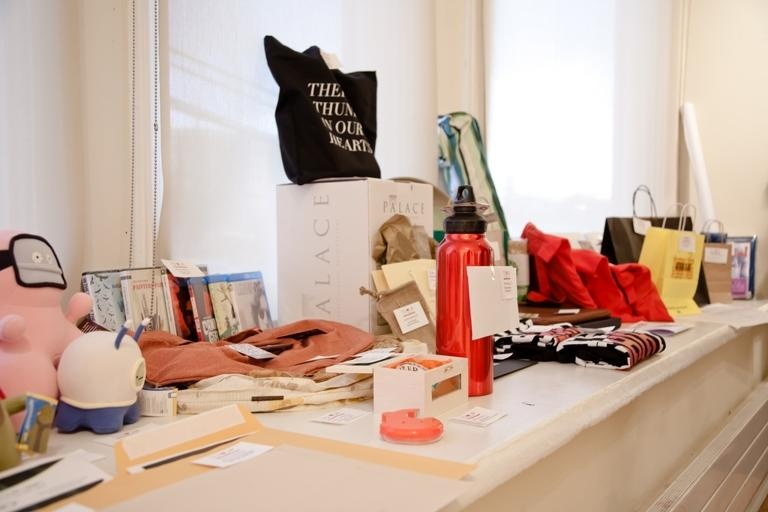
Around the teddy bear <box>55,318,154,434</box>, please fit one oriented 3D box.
[{"bbox_3d":[-0.611,0.247,1.179,0.168,0.224,0.175,5,1,38],"label":"teddy bear"}]

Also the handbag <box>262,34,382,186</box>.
[{"bbox_3d":[-0.183,-0.530,2.108,0.213,0.544,0.543,-1,0,43],"label":"handbag"}]

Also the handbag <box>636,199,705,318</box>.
[{"bbox_3d":[1.333,-0.007,2.520,0.279,0.545,0.177,4,7,-22],"label":"handbag"}]

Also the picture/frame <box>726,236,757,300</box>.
[{"bbox_3d":[1.928,0.051,3.008,0.193,0.326,0.205,-1,3,-35],"label":"picture/frame"}]

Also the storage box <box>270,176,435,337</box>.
[{"bbox_3d":[-0.218,-0.020,2.207,0.532,0.752,0.504,2,3,40],"label":"storage box"}]

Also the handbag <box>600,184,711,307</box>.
[{"bbox_3d":[1.312,-0.056,2.688,0.549,0.530,0.206,0,-7,-18],"label":"handbag"}]

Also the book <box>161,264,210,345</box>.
[{"bbox_3d":[-0.646,0.144,1.732,0.050,0.210,0.213,-8,-2,10],"label":"book"}]

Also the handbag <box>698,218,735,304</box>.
[{"bbox_3d":[1.642,0.031,2.747,0.200,0.430,0.150,0,7,-1],"label":"handbag"}]

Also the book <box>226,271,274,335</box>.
[{"bbox_3d":[-0.479,0.166,1.906,0.028,0.190,0.209,-11,-4,24],"label":"book"}]
